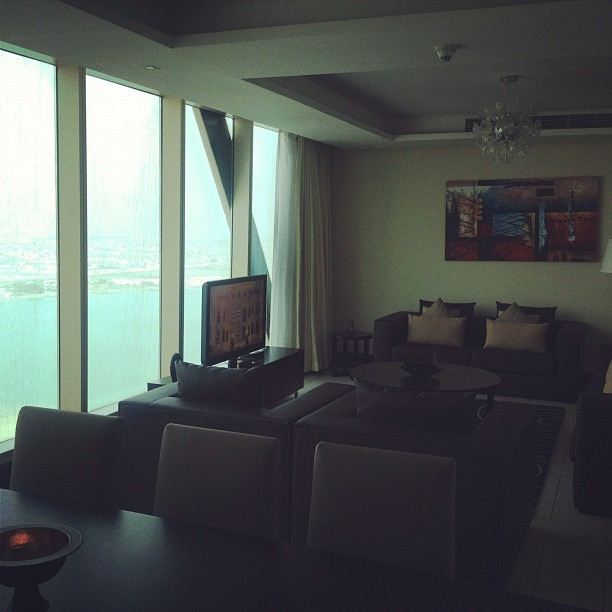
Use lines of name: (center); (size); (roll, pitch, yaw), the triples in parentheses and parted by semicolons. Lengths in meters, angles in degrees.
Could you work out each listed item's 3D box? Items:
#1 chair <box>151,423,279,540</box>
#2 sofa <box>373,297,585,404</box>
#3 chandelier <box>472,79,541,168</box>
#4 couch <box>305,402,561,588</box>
chair: (-0.239, 0.495, 1.987); (0.313, 0.452, 0.331); (6, 2, 18)
sofa: (1.775, 0.428, 6.379); (2.035, 0.887, 0.847); (4, 3, 27)
chandelier: (1.543, -1.368, 4.727); (0.475, 0.458, 0.289); (2, 5, 16)
couch: (0.426, 0.644, 2.124); (0.383, 0.322, 0.737); (-10, 8, -43)
